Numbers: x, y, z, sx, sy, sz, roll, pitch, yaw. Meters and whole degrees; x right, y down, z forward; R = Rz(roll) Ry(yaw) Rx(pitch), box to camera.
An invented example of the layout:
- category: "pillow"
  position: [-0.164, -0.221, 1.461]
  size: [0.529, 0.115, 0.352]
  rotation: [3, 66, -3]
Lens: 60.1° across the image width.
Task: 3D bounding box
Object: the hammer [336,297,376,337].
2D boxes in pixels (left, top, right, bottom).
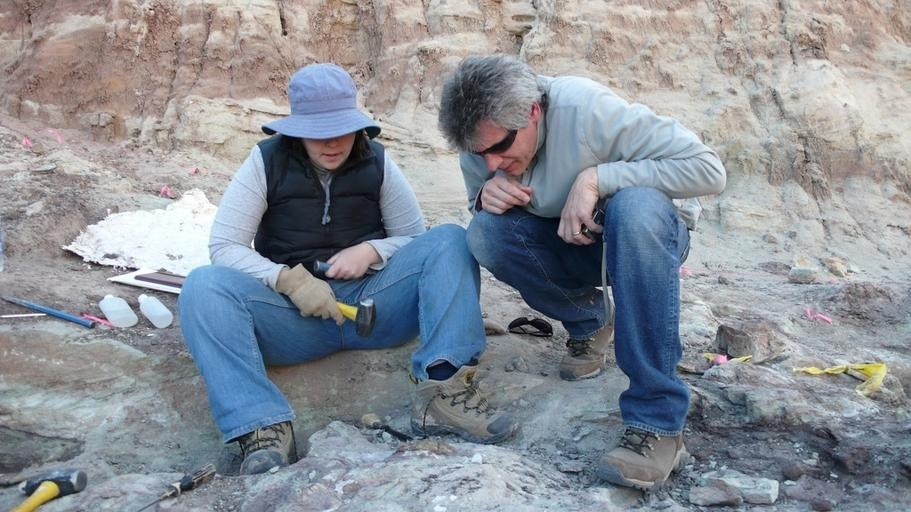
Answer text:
- category: "hammer"
  position: [-0.793, 0.496, 6.589]
  size: [0.390, 0.219, 0.221]
  rotation: [17, 19, 34]
